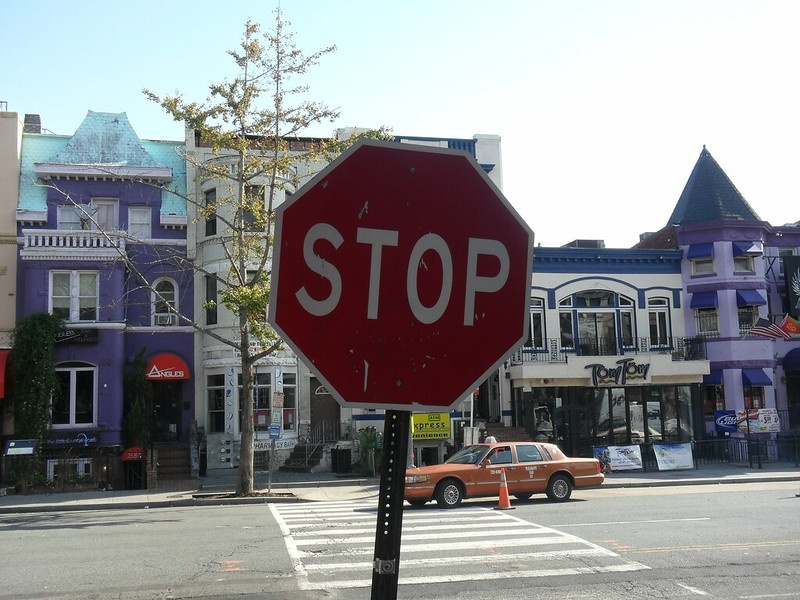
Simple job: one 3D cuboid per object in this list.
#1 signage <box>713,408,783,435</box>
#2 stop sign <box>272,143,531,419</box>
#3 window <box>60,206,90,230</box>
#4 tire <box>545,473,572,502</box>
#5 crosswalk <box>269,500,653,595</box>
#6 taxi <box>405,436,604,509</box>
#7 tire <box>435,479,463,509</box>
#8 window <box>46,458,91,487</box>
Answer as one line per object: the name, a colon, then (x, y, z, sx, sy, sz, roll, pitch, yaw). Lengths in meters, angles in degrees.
signage: (14.777, 5.016, 36.545, 1.462, 1.027, 2.622, 2, -11, -19)
stop sign: (0.042, -0.320, 11.832, 3.406, 3.587, 0.537, 0, -9, -6)
window: (-13.175, -3.257, 35.036, 0.932, 0.956, 0.097, -1, -5, -6)
tire: (4.886, 5.576, 26.262, 0.752, 0.794, 0.273, -5, -6, -23)
crosswalk: (0.911, 5.856, 21.758, 7.806, 1.144, 8.599, 0, -10, -8)
taxi: (3.385, 5.272, 27.006, 6.040, 1.731, 2.405, 0, -11, -10)
tire: (1.480, 5.540, 25.213, 0.697, 0.735, 0.243, 8, -15, -22)
window: (-11.619, 6.022, 30.754, 1.412, 0.962, 0.197, -1, -9, -5)
